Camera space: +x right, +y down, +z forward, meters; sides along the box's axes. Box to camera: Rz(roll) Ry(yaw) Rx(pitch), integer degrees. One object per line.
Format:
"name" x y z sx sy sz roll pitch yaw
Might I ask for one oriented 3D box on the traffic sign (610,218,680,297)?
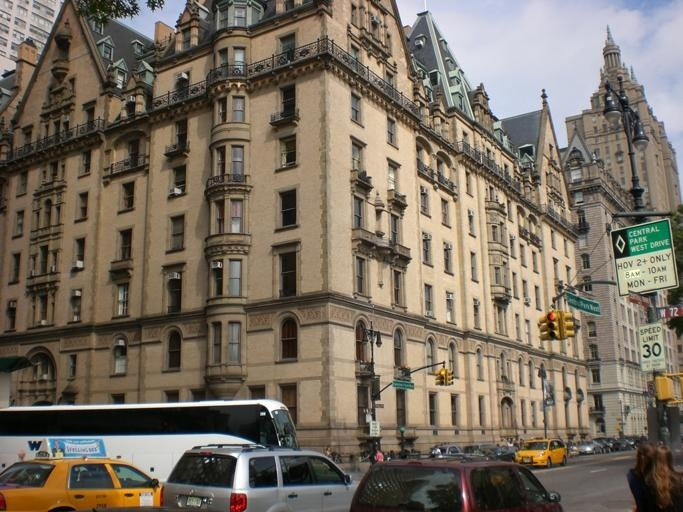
"traffic sign" 10.598 -0.034 27.537 1.995 2.602 1.075 -10 -22 21

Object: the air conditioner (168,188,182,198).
"air conditioner" -12.533 -4.901 59.180 0.870 0.342 0.699 -13 -14 43
